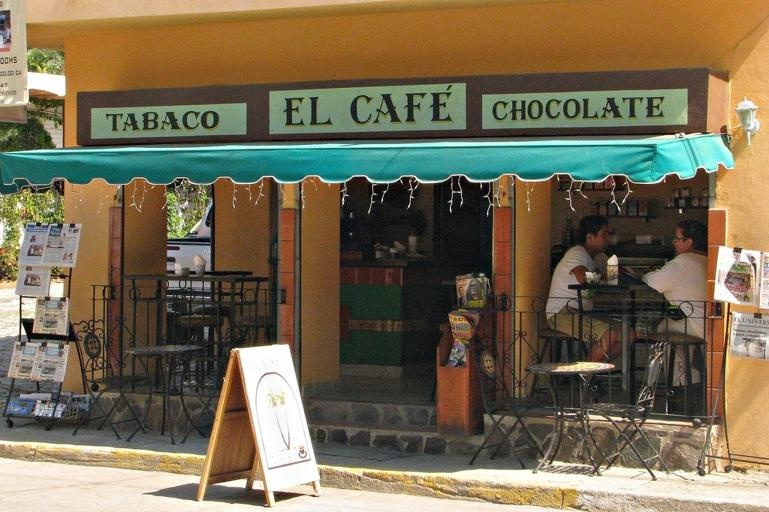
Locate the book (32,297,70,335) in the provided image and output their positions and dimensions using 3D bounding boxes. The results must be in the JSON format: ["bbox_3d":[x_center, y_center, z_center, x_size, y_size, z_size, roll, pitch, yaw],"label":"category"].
[{"bbox_3d":[-4.862,0.862,12.753,0.544,0.539,0.076,1,-4,15],"label":"book"}]

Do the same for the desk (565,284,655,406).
[{"bbox_3d":[2.981,1.169,11.754,1.538,1.504,1.100,-2,-7,41],"label":"desk"}]

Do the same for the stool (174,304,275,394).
[{"bbox_3d":[-2.722,1.477,13.874,1.400,1.410,1.406,1,0,0],"label":"stool"}]

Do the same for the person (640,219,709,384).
[{"bbox_3d":[3.918,0.738,11.733,0.704,2.320,1.574,2,11,18],"label":"person"}]

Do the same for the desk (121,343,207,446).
[{"bbox_3d":[-3.220,1.751,12.756,0.965,1.361,2.193,-5,12,-18],"label":"desk"}]

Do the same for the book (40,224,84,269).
[{"bbox_3d":[-4.748,-0.171,12.774,0.648,0.708,0.037,2,-4,20],"label":"book"}]

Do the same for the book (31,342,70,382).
[{"bbox_3d":[-4.886,1.496,12.715,0.575,0.635,0.085,4,-12,16],"label":"book"}]

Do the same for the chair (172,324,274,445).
[{"bbox_3d":[-2.738,1.934,12.990,1.337,1.822,1.160,2,-6,22],"label":"chair"}]

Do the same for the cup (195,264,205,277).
[{"bbox_3d":[-2.906,0.219,13.689,0.169,0.219,0.179,3,-2,0],"label":"cup"}]

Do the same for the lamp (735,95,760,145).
[{"bbox_3d":[4.527,-1.661,10.916,0.303,0.536,0.219,1,11,15],"label":"lamp"}]
